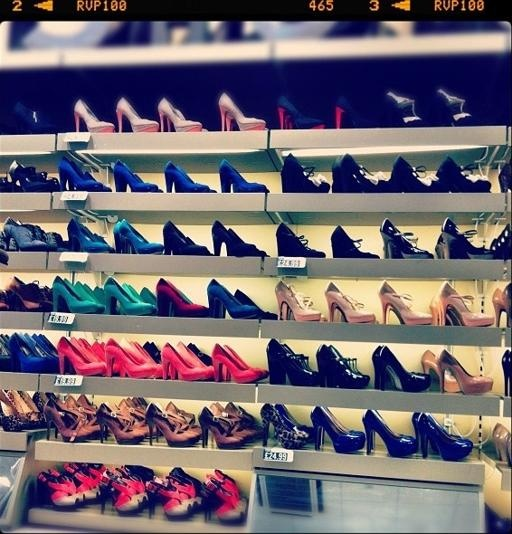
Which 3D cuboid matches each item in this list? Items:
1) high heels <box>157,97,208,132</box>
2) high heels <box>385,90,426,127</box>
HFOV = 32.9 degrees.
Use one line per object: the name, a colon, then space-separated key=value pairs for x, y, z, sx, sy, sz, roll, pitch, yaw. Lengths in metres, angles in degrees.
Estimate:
high heels: x=-0.456 y=-0.872 z=4.949 sx=0.357 sy=0.245 sz=0.127 roll=12 pitch=15 yaw=28
high heels: x=0.725 y=-0.884 z=4.816 sx=0.185 sy=0.221 sz=0.178 roll=-2 pitch=4 yaw=11
